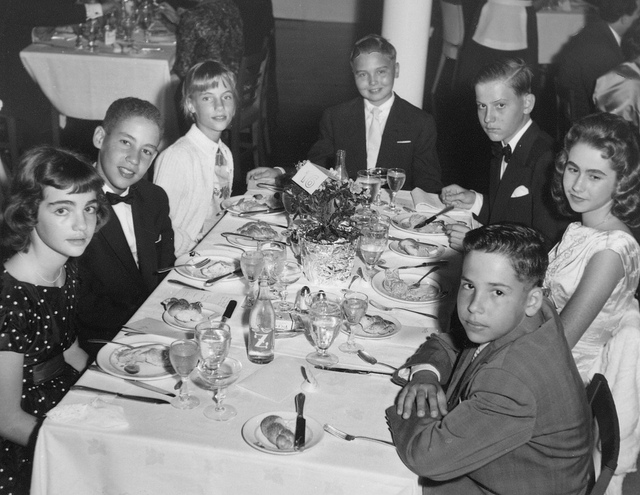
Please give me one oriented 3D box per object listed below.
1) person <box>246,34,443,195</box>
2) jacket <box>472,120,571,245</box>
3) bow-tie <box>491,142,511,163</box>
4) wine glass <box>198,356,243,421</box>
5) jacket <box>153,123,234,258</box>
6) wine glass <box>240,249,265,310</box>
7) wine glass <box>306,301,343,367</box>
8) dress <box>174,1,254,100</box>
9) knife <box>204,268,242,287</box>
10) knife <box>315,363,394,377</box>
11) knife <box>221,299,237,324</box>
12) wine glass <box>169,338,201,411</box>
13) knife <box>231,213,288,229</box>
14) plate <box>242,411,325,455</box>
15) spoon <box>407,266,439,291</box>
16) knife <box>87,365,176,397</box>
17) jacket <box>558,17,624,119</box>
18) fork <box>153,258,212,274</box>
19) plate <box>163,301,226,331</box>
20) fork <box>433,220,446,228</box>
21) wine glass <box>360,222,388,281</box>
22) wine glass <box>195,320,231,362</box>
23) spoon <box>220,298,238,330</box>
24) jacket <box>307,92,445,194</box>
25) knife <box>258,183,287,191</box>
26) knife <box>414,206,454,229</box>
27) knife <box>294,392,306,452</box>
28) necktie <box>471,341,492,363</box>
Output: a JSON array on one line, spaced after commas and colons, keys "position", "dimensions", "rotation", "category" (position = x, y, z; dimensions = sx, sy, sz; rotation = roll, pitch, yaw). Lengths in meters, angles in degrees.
[{"position": [0.257, -0.721, 3.851], "dimensions": [1.449, 1.282, 0.904], "rotation": [7, 24, 23], "category": "person"}, {"position": [1.159, -0.334, 2.869], "dimensions": [0.386, 0.515, 0.438], "rotation": [-15, 29, -40], "category": "jacket"}, {"position": [0.988, -0.517, 3.034], "dimensions": [0.035, 0.106, 0.106], "rotation": [5, 67, -35], "category": "bow-tie"}, {"position": [-0.285, 0.377, 1.578], "dimensions": [0.151, 0.163, 0.150], "rotation": [5, 24, 0], "category": "wine glass"}, {"position": [-0.698, -0.291, 3.076], "dimensions": [0.278, 0.554, 0.579], "rotation": [16, 35, 9], "category": "jacket"}, {"position": [-0.245, 0.121, 2.047], "dimensions": [0.101, 0.191, 0.103], "rotation": [20, 40, 13], "category": "wine glass"}, {"position": [0.013, 0.273, 1.790], "dimensions": [0.109, 0.171, 0.120], "rotation": [7, 3, 43], "category": "wine glass"}, {"position": [-0.897, -1.694, 4.589], "dimensions": [0.532, 0.579, 0.411], "rotation": [-1, 22, -12], "category": "dress"}, {"position": [-0.393, 0.122, 2.258], "dimensions": [0.259, 0.011, 0.035], "rotation": [-15, 64, -50], "category": "knife"}, {"position": [0.102, 0.380, 1.740], "dimensions": [0.154, 0.015, 0.017], "rotation": [6, -2, 2], "category": "knife"}, {"position": [-0.318, 0.227, 1.953], "dimensions": [0.021, 0.016, 0.108], "rotation": [29, 38, -13], "category": "knife"}, {"position": [-0.381, 0.361, 1.579], "dimensions": [0.093, 0.165, 0.094], "rotation": [8, 38, -1], "category": "wine glass"}, {"position": [-0.316, -0.131, 2.846], "dimensions": [0.229, 0.023, 0.010], "rotation": [17, 63, 0], "category": "knife"}, {"position": [-0.095, 0.477, 1.464], "dimensions": [0.213, 0.019, 0.161], "rotation": [5, 21, 2], "category": "plate"}, {"position": [0.442, 0.117, 2.341], "dimensions": [0.050, 0.039, 0.280], "rotation": [27, 29, 20], "category": "spoon"}, {"position": [-0.554, 0.389, 1.629], "dimensions": [0.280, 0.013, 0.036], "rotation": [13, 13, 12], "category": "knife"}, {"position": [2.067, -1.351, 4.529], "dimensions": [0.350, 0.652, 0.503], "rotation": [19, 27, 2], "category": "jacket"}, {"position": [-0.587, 0.080, 2.407], "dimensions": [0.236, 0.027, 0.032], "rotation": [-9, 44, -14], "category": "fork"}, {"position": [-0.448, 0.228, 2.001], "dimensions": [0.167, 0.029, 0.212], "rotation": [18, 25, 32], "category": "plate"}, {"position": [0.613, -0.113, 2.874], "dimensions": [0.031, 0.041, 0.042], "rotation": [-13, 17, 4], "category": "fork"}, {"position": [0.223, 0.018, 2.345], "dimensions": [0.123, 0.219, 0.116], "rotation": [-13, 42, -16], "category": "wine glass"}, {"position": [-0.296, 0.283, 1.661], "dimensions": [0.108, 0.120, 0.108], "rotation": [2, 25, 0], "category": "wine glass"}, {"position": [-0.313, 0.228, 1.919], "dimensions": [0.025, 0.022, 0.138], "rotation": [15, 43, 0], "category": "spoon"}, {"position": [0.382, -0.704, 3.788], "dimensions": [0.932, 0.620, 0.516], "rotation": [8, 22, 10], "category": "jacket"}, {"position": [-0.298, -0.358, 3.314], "dimensions": [0.112, 0.026, 0.110], "rotation": [7, 11, -10], "category": "knife"}, {"position": [0.602, -0.153, 2.954], "dimensions": [0.046, 0.013, 0.321], "rotation": [43, 39, 15], "category": "knife"}, {"position": [-0.049, 0.448, 1.459], "dimensions": [0.027, 0.178, 0.008], "rotation": [5, 19, 4], "category": "knife"}, {"position": [0.472, 0.309, 1.665], "dimensions": [0.046, 0.023, 0.062], "rotation": [7, 56, 30], "category": "necktie"}]
